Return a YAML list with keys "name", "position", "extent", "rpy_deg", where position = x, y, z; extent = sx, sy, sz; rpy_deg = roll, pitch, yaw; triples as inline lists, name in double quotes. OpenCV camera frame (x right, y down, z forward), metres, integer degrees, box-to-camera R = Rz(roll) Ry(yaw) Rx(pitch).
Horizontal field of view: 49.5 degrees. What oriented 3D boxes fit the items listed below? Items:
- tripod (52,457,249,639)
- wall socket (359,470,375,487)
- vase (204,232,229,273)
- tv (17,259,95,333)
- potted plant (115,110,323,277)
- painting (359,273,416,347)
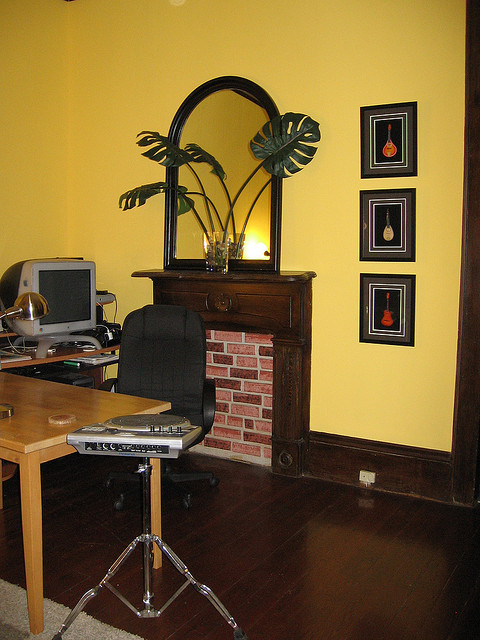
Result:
- name: "tripod"
  position: [-0.260, 0.690, 1.817]
  extent: [0.585, 0.631, 0.673]
  rpy_deg: [1, 2, 1]
- name: "wall socket"
  position: [0.730, 0.899, 2.957]
  extent: [0.106, 0.113, 0.016]
  rpy_deg: [1, 0, 35]
- name: "vase"
  position: [-0.159, -0.434, 3.318]
  extent: [0.104, 0.267, 0.248]
  rpy_deg: [-1, 3, -33]
- name: "tv"
  position: [-1.096, -0.149, 3.068]
  extent: [0.237, 0.405, 0.429]
  rpy_deg: [8, 8, 24]
- name: "potted plant"
  position: [-0.206, -0.795, 3.207]
  extent: [1.412, 1.058, 0.404]
  rpy_deg: [2, 3, 33]
- name: "painting"
  position: [0.830, -0.065, 2.874]
  extent: [0.390, 0.518, 0.059]
  rpy_deg: [3, 6, 30]
